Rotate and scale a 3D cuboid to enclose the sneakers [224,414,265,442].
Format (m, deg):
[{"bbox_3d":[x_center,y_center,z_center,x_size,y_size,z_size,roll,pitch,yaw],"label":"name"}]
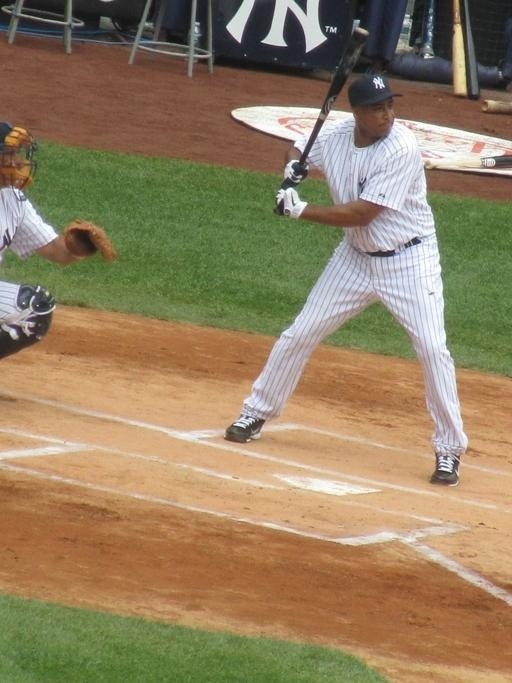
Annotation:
[{"bbox_3d":[-0.055,0.410,5.246,0.091,0.101,0.240,31,8,13],"label":"sneakers"}]

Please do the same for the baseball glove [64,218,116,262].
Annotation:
[{"bbox_3d":[-0.777,-0.468,5.052,0.220,0.172,0.263,5,7,-22],"label":"baseball glove"}]

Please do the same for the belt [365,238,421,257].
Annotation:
[{"bbox_3d":[0.610,-0.440,4.871,0.140,0.028,0.117,-13,-10,-35],"label":"belt"}]

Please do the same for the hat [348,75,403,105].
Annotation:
[{"bbox_3d":[0.483,-1.083,4.714,0.212,0.099,0.152,-8,6,41],"label":"hat"}]

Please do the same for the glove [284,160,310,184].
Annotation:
[{"bbox_3d":[0.185,-0.785,5.120,0.125,0.085,0.129,-13,2,7],"label":"glove"}]

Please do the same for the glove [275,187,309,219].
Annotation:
[{"bbox_3d":[0.178,-0.624,4.975,0.077,0.112,0.166,13,19,-45],"label":"glove"}]
